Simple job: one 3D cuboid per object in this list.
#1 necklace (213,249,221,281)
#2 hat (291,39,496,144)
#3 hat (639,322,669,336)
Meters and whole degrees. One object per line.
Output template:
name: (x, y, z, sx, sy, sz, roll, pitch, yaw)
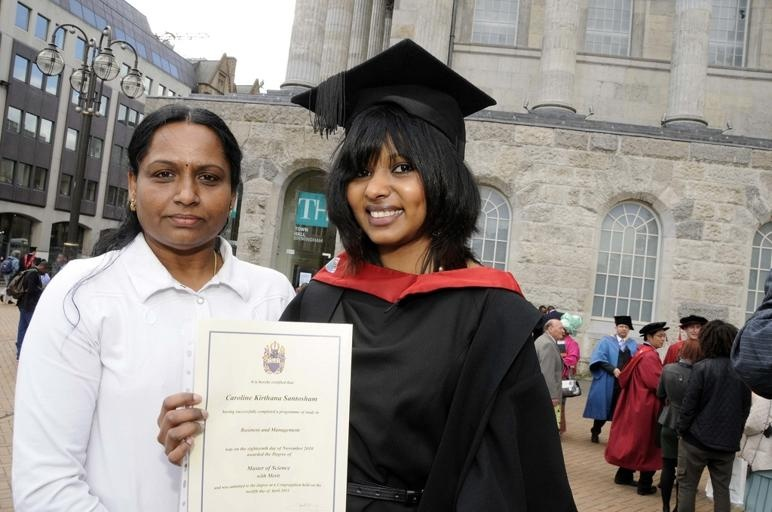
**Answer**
necklace: (-1.023, 0.057, 4.031, 0.030, 0.117, 0.087, 5, -9, 0)
hat: (0.086, -0.868, 4.551, 1.173, 0.365, 1.245, 8, -18, -32)
hat: (4.126, 1.176, 10.515, 0.507, 0.143, 0.502, -6, 2, -38)
